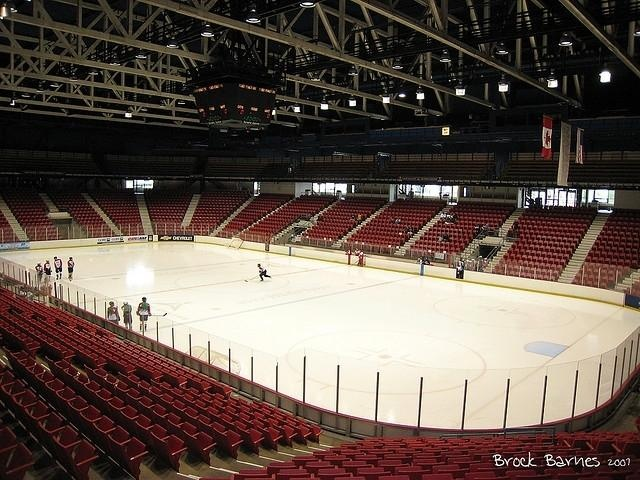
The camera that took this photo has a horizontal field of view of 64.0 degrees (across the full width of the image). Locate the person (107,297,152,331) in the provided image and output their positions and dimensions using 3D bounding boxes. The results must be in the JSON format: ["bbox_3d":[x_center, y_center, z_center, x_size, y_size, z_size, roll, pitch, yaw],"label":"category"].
[{"bbox_3d":[-7.582,3.014,20.497,1.424,1.135,0.282,5,23,12],"label":"person"}]

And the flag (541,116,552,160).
[{"bbox_3d":[10.049,-4.585,22.701,0.350,1.791,1.003,1,8,20],"label":"flag"}]
